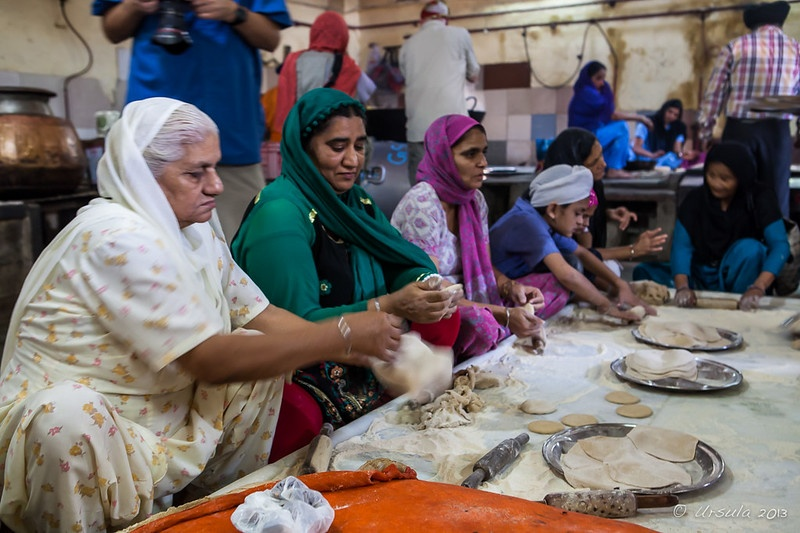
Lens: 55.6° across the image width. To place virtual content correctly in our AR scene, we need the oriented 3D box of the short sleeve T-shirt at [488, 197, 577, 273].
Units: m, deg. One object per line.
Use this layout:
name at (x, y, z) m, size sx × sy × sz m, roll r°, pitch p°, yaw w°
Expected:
short sleeve T-shirt at (0.841, -0.181, 4.821) m, size 0.514 × 0.397 × 0.411 m, roll 6°, pitch 27°, yaw 20°

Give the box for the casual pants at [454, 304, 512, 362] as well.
casual pants at (0.411, 0.345, 3.992) m, size 0.280 × 0.126 × 0.289 m, roll -32°, pitch -36°, yaw 23°

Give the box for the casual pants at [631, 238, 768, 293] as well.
casual pants at (2.227, 0.057, 5.505) m, size 0.802 × 0.340 × 0.463 m, roll -13°, pitch -14°, yaw 34°

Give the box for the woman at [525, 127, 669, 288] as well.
woman at (1.388, -0.379, 5.428) m, size 1.126 × 1.124 × 0.871 m, roll 2°, pitch 39°, yaw 14°

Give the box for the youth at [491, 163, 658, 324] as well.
youth at (1.106, -0.146, 4.907) m, size 1.136 × 0.962 × 0.689 m, roll 14°, pitch 20°, yaw 19°

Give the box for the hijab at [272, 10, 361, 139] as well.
hijab at (-0.600, -1.346, 5.859) m, size 0.632 × 1.108 × 0.609 m, roll 2°, pitch 15°, yaw -8°

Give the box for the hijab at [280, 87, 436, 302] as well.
hijab at (-0.028, -0.551, 4.216) m, size 1.179 × 1.315 × 0.580 m, roll -5°, pitch 23°, yaw -7°

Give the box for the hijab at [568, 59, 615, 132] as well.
hijab at (1.968, -1.722, 7.766) m, size 0.439 × 0.699 × 0.360 m, roll -2°, pitch 10°, yaw 5°

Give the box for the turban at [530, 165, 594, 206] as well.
turban at (1.018, -0.497, 4.770) m, size 0.254 × 0.153 × 0.320 m, roll -20°, pitch 9°, yaw -17°

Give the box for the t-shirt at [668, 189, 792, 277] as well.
t-shirt at (2.388, -0.237, 5.448) m, size 0.693 × 0.754 × 0.762 m, roll 4°, pitch -1°, yaw 10°

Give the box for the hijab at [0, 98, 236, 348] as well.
hijab at (-1.151, -0.219, 3.454) m, size 0.823 × 1.282 × 0.991 m, roll 4°, pitch 11°, yaw -12°

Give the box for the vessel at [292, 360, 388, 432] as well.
vessel at (-0.273, 0.545, 3.499) m, size 0.359 × 0.157 × 0.285 m, roll 32°, pitch 38°, yaw 21°

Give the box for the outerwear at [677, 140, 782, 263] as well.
outerwear at (2.353, -0.445, 5.457) m, size 0.793 × 0.939 × 0.520 m, roll 2°, pitch 23°, yaw 30°

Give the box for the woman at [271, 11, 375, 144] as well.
woman at (-0.581, -1.358, 5.896) m, size 0.709 × 1.034 × 0.575 m, roll 5°, pitch 1°, yaw 5°

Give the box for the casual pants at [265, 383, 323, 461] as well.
casual pants at (-0.450, 0.654, 3.199) m, size 0.229 × 0.241 × 0.281 m, roll 28°, pitch 5°, yaw 6°

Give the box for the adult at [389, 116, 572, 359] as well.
adult at (0.532, -0.113, 4.481) m, size 1.172 × 1.447 × 1.119 m, roll 1°, pitch 14°, yaw -12°

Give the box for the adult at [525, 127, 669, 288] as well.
adult at (1.412, -0.380, 5.439) m, size 1.126 × 1.124 × 0.871 m, roll 2°, pitch 39°, yaw 14°

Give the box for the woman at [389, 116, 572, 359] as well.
woman at (0.493, -0.133, 4.565) m, size 1.122 × 1.470 × 1.101 m, roll -7°, pitch 17°, yaw -43°

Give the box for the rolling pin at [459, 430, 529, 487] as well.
rolling pin at (0.377, 0.761, 3.038) m, size 0.100 × 0.101 × 0.420 m, roll 38°, pitch 35°, yaw 24°

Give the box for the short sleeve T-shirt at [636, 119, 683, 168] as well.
short sleeve T-shirt at (2.804, -1.336, 8.183) m, size 0.613 × 0.598 × 0.355 m, roll -1°, pitch 7°, yaw 15°

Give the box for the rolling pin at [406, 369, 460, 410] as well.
rolling pin at (0.147, 0.563, 3.471) m, size 0.082 × 0.092 × 0.340 m, roll -36°, pitch -7°, yaw 39°

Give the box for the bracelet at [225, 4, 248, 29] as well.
bracelet at (-0.817, -1.272, 3.899) m, size 0.077 × 0.102 × 0.115 m, roll -3°, pitch 6°, yaw -43°

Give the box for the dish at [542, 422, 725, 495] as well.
dish at (0.833, 0.731, 3.139) m, size 0.366 × 0.046 × 0.347 m, roll -7°, pitch 17°, yaw -22°

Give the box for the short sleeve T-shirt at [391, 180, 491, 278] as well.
short sleeve T-shirt at (0.200, -0.215, 4.581) m, size 0.456 × 0.666 × 0.891 m, roll 6°, pitch 7°, yaw 34°
